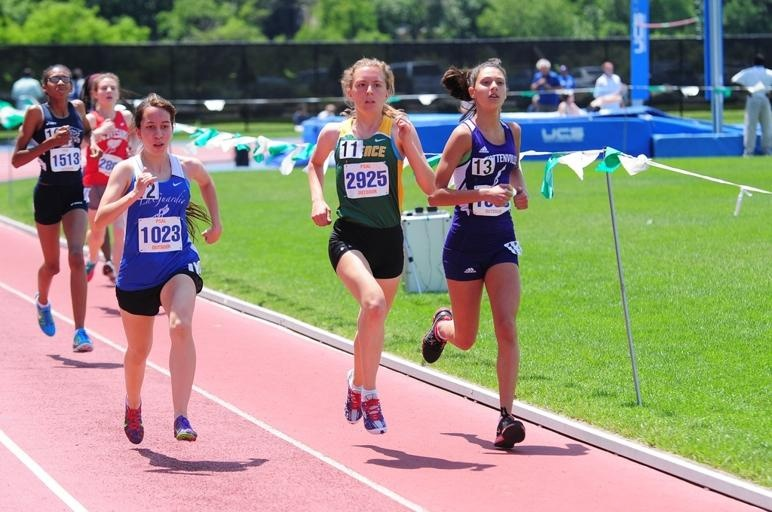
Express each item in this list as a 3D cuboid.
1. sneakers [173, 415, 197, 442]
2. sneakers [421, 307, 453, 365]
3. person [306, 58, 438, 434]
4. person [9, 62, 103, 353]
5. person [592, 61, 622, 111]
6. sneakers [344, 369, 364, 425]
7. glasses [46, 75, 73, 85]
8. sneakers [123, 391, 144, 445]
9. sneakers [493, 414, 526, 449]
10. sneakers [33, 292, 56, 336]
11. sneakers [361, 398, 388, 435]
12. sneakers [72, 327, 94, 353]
[{"bbox_3d":[-1.532,1.319,6.446,0.134,0.251,0.190,-7,16,-18],"label":"sneakers"},{"bbox_3d":[0.476,0.825,7.906,0.263,0.222,0.649,-2,54,10],"label":"sneakers"},{"bbox_3d":[-0.106,-0.061,6.971,1.007,3.014,1.164,-3,15,-4],"label":"person"},{"bbox_3d":[-3.362,-0.503,8.860,0.800,2.872,1.412,-7,16,-18],"label":"person"},{"bbox_3d":[5.565,-4.173,21.395,0.782,1.322,4.087,2,15,13],"label":"person"},{"bbox_3d":[-0.286,1.157,7.049,0.167,0.419,0.189,-5,6,-11],"label":"sneakers"},{"bbox_3d":[-3.292,-1.782,8.596,0.206,0.084,0.076,-14,19,-39],"label":"glasses"},{"bbox_3d":[-1.982,1.278,6.710,0.142,0.350,0.153,-9,4,-19],"label":"sneakers"},{"bbox_3d":[0.965,1.383,6.747,0.231,0.326,0.233,0,15,8],"label":"sneakers"},{"bbox_3d":[-3.561,0.650,9.046,0.178,0.497,0.220,-21,12,-30],"label":"sneakers"},{"bbox_3d":[-0.105,1.302,6.827,0.158,0.358,0.199,-5,15,-11],"label":"sneakers"},{"bbox_3d":[-3.064,0.848,8.612,0.141,0.161,0.343,-1,-9,-16],"label":"sneakers"}]
